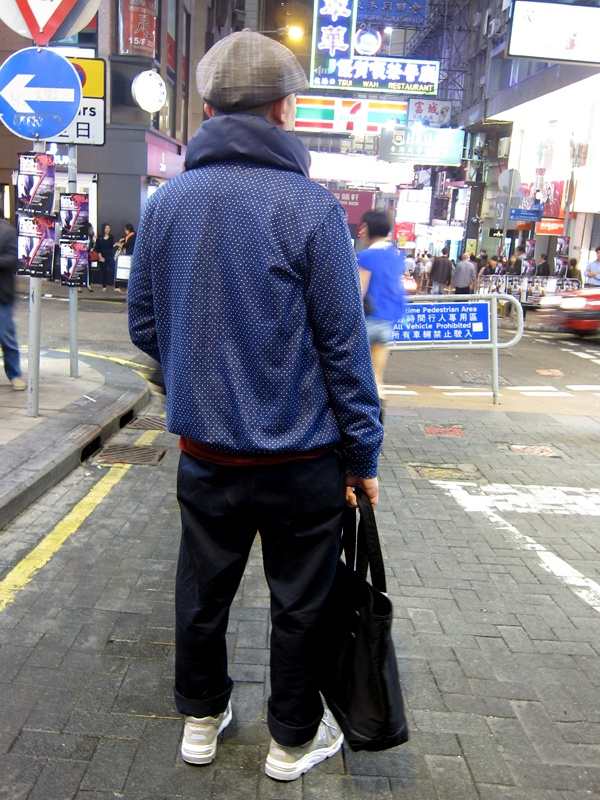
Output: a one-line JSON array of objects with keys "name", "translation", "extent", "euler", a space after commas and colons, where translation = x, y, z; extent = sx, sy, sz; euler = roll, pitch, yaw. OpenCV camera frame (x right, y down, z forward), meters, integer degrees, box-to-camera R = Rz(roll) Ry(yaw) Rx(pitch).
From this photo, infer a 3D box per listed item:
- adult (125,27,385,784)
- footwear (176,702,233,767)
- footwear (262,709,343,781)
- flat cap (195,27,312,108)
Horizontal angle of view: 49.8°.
[{"name": "adult", "translation": [-0.078, 0.034, 1.746], "extent": [0.668, 1.835, 0.579], "euler": [6, 11, 26]}, {"name": "footwear", "translation": [-0.279, 0.961, 1.874], "extent": [0.077, 0.089, 0.218], "euler": [0, 2, 6]}, {"name": "footwear", "translation": [0.036, 0.979, 1.880], "extent": [0.102, 0.133, 0.286], "euler": [-7, -3, 34]}, {"name": "flat cap", "translation": [-0.111, -0.746, 1.471], "extent": [0.216, 0.111, 0.209], "euler": [19, 60, 16]}]
